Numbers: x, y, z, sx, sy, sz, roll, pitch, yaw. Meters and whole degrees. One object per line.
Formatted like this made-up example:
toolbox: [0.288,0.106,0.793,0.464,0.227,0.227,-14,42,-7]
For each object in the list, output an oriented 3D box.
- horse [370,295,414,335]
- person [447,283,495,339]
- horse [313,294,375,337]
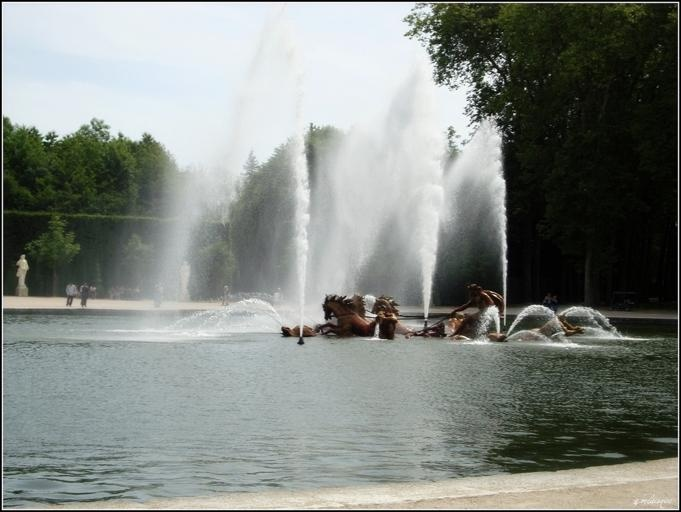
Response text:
horse: [1.416,1.495,25.339,1.078,1.013,2.407,-1,3,2]
person: [3.431,1.336,23.711,1.231,1.370,0.814,1,4,21]
horse: [0.182,1.495,24.598,1.556,1.059,0.807,0,4,2]
